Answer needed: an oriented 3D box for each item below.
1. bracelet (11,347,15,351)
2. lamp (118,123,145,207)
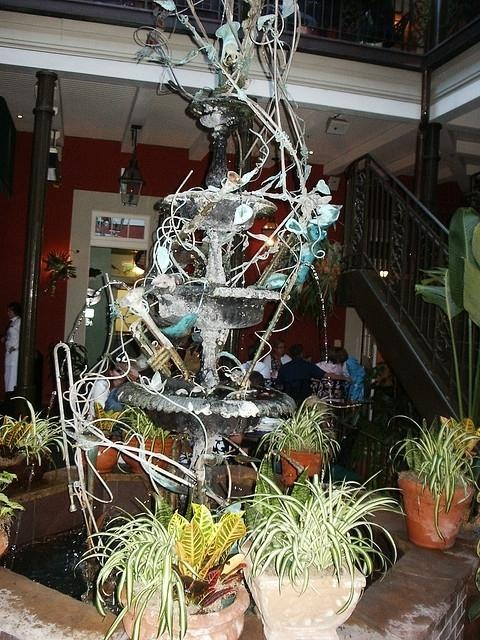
[{"bbox_3d":[-2.896,0.379,6.647,0.056,0.050,0.014,-1,-1,-8],"label":"bracelet"},{"bbox_3d":[-1.370,-1.975,6.667,0.279,0.977,1.172,2,2,-12],"label":"lamp"}]
